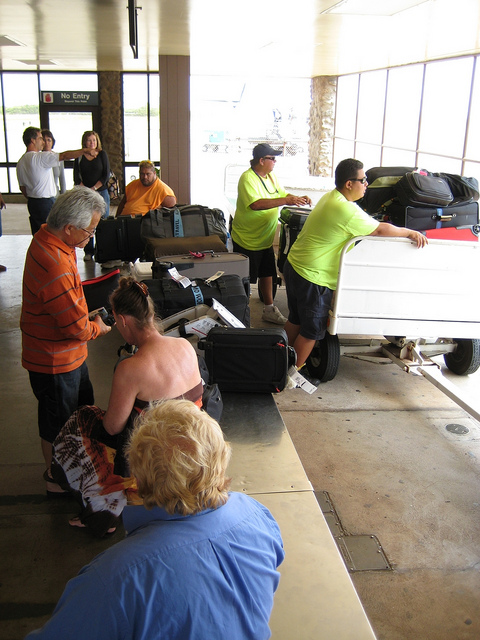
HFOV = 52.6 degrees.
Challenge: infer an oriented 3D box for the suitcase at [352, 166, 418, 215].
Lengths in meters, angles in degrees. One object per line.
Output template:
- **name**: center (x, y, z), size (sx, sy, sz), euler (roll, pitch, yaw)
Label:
- **suitcase**: center (1.140, -1.074, 4.021), size (0.475, 0.412, 0.419), euler (3, 47, -1)

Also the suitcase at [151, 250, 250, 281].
- **suitcase**: center (-0.286, -0.436, 3.756), size (0.600, 0.219, 0.335), euler (-5, 17, -15)

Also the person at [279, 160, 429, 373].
- **person**: center (0.723, -0.380, 3.585), size (0.907, 1.527, 0.448), euler (12, 22, 23)

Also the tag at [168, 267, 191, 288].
- **tag**: center (-0.400, -0.264, 3.171), size (0.039, 0.166, 0.094), euler (-35, -1, 37)

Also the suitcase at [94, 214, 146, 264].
- **suitcase**: center (-1.448, -1.034, 5.915), size (0.724, 0.624, 0.365), euler (-8, 28, -25)

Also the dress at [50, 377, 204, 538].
- **dress**: center (-0.581, 0.514, 2.140), size (0.489, 0.825, 0.320), euler (15, -11, -15)

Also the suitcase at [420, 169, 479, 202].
- **suitcase**: center (1.672, -1.052, 3.838), size (0.387, 0.142, 0.294), euler (11, 19, -11)

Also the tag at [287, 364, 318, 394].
- **tag**: center (0.335, 0.330, 2.697), size (0.186, 0.110, 0.189), euler (37, 10, 19)

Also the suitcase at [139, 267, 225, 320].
- **suitcase**: center (-0.349, -0.157, 2.965), size (0.393, 0.249, 0.146), euler (-8, 30, -15)

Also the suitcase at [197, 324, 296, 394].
- **suitcase**: center (0.046, 0.215, 2.699), size (0.529, 0.333, 0.316), euler (1, 5, 0)

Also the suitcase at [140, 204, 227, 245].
- **suitcase**: center (-0.576, -0.965, 5.035), size (0.951, 0.468, 0.419), euler (-7, 11, -32)

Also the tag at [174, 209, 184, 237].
- **tag**: center (-0.600, -0.948, 4.771), size (0.091, 0.242, 0.242), euler (-1, 20, -12)

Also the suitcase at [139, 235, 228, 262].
- **suitcase**: center (-0.497, -0.652, 4.231), size (0.515, 0.145, 0.338), euler (-3, 16, -13)

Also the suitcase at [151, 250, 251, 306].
- **suitcase**: center (-0.233, -0.213, 3.804), size (0.727, 0.368, 0.466), euler (-15, 54, -18)

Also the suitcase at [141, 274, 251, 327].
- **suitcase**: center (-0.264, -0.149, 3.165), size (0.634, 0.320, 0.557), euler (0, 6, -22)

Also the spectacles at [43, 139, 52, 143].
- **spectacles**: center (-2.932, -2.738, 7.402), size (0.097, 0.044, 0.125), euler (-1, 10, -12)

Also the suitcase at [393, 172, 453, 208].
- **suitcase**: center (1.412, -0.994, 3.741), size (0.436, 0.254, 0.219), euler (8, 20, 12)
